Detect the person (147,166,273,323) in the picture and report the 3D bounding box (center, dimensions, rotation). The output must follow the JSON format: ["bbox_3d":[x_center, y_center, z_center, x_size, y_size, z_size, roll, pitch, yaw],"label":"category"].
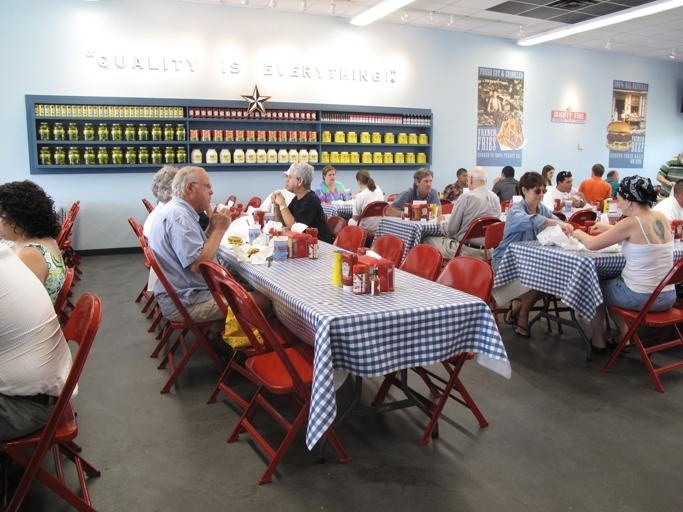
[{"bbox_3d":[-1.016,-0.038,3.924,0.901,1.389,0.650,-5,22,-21],"label":"person"}]

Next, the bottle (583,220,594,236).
[{"bbox_3d":[2.294,-0.268,4.526,0.116,0.132,0.126,-1,3,-18],"label":"bottle"}]

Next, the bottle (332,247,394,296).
[{"bbox_3d":[0.127,0.079,2.899,0.316,0.234,0.225,-4,10,-28],"label":"bottle"}]

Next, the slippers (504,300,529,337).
[{"bbox_3d":[1.669,0.569,4.673,0.144,0.389,0.111,0,-10,-40],"label":"slippers"}]

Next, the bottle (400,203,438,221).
[{"bbox_3d":[0.945,-0.533,5.867,0.231,0.167,0.326,-1,8,-15],"label":"bottle"}]

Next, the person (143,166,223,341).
[{"bbox_3d":[-1.106,-0.020,3.892,0.719,1.365,0.642,-6,9,-41],"label":"person"}]
